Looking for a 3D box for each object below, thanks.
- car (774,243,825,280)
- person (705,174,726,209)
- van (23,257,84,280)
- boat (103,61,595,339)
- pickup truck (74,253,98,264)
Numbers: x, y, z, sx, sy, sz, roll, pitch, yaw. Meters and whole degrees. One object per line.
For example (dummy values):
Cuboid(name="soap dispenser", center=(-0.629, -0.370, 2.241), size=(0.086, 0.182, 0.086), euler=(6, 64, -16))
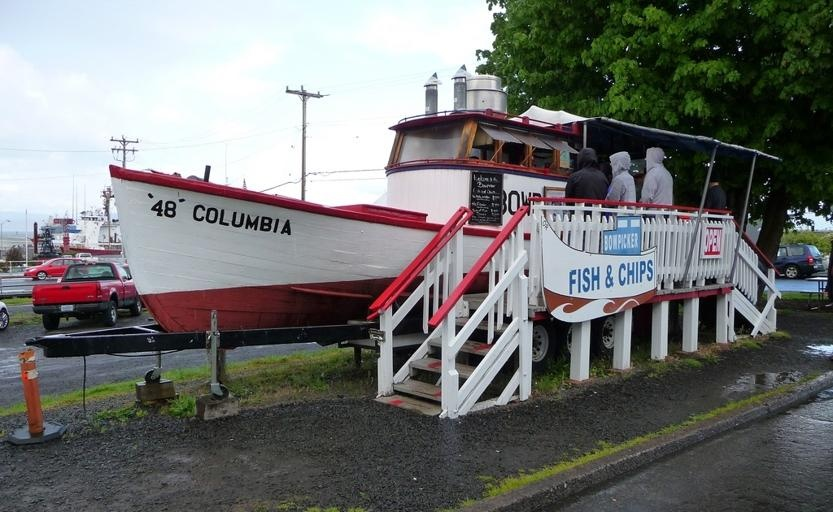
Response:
Cuboid(name="car", center=(18.158, 0.352, 32.224), size=(3.339, 1.387, 1.685), euler=(3, 4, 39))
Cuboid(name="person", center=(6.853, -1.453, 15.620), size=(0.416, 0.756, 1.378), euler=(0, 7, 23))
Cuboid(name="van", center=(-17.658, 0.603, 33.022), size=(3.036, 0.997, 1.462), euler=(1, 2, 16))
Cuboid(name="boat", center=(-1.704, -1.149, 14.342), size=(9.332, 4.521, 4.319), euler=(-3, 4, -34))
Cuboid(name="pickup truck", center=(-18.480, 0.125, 37.952), size=(1.072, 0.778, 1.869), euler=(0, -2, -38))
